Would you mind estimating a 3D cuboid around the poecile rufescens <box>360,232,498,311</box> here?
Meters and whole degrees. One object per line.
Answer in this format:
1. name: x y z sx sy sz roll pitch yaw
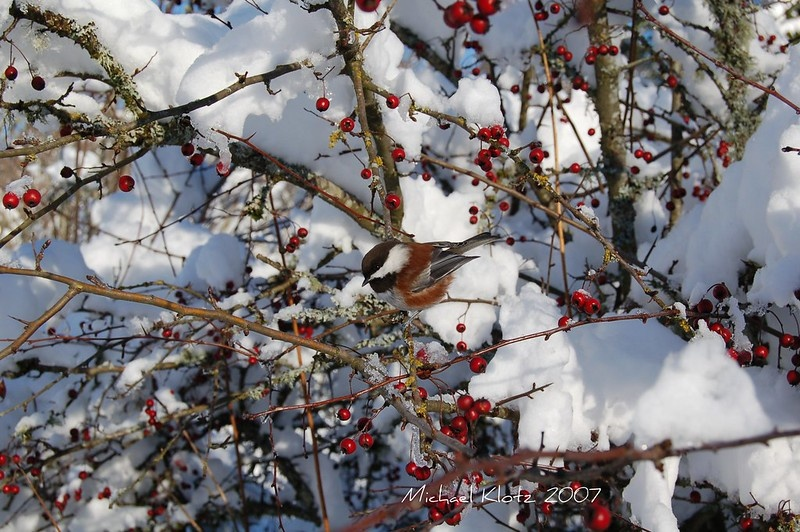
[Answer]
1. poecile rufescens: 0.226 0.071 10.773 1.177 0.784 0.360 -1 -23 -21
